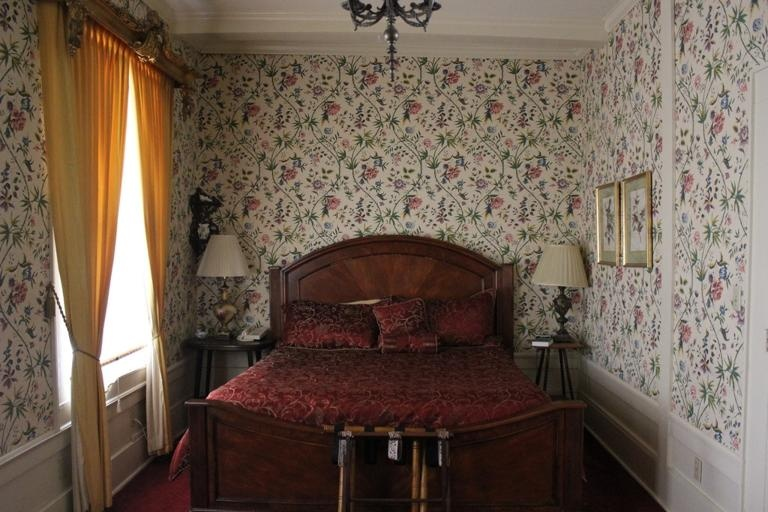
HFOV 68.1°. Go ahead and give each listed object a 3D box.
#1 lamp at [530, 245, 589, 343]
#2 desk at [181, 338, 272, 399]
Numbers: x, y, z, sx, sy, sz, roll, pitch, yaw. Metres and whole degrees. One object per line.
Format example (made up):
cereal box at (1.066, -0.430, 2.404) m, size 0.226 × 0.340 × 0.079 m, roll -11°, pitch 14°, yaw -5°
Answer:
lamp at (1.615, 0.338, 5.175) m, size 0.457 × 0.889 × 0.476 m, roll -2°, pitch 7°, yaw 3°
desk at (-1.418, 0.899, 5.188) m, size 0.646 × 0.826 × 0.597 m, roll 0°, pitch -6°, yaw -3°
